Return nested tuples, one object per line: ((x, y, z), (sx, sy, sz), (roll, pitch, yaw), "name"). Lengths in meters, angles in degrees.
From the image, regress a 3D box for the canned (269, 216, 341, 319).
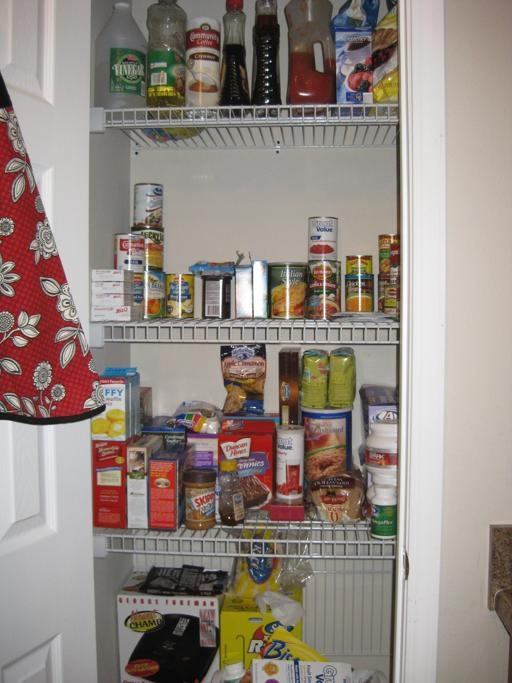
((0.108, -0.158, 1.434), (0.161, 0.225, 0.092), (-2, 1, -5), "canned")

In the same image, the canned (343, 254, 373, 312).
((0.225, -0.124, 1.427), (0.057, 0.122, 0.035), (-2, 1, 1), "canned")

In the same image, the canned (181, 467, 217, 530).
((-0.117, 0.341, 1.412), (0.069, 0.087, 0.045), (-2, 1, -7), "canned")

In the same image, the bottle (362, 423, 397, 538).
((0.252, 0.285, 1.336), (0.076, 0.232, 0.051), (-1, 1, 33), "bottle")

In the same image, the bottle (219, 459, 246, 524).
((-0.052, 0.339, 1.426), (0.059, 0.083, 0.056), (-2, 1, 0), "bottle")

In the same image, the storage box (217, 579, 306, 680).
((-0.009, 0.643, 1.481), (0.166, 0.095, 0.160), (1, 4, 3), "storage box")

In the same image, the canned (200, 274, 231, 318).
((-0.085, -0.095, 1.447), (0.065, 0.097, 0.066), (-2, 1, -5), "canned")
